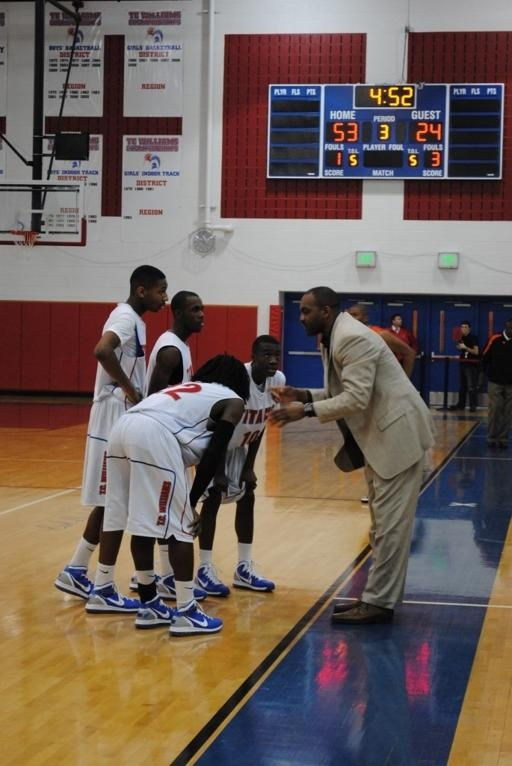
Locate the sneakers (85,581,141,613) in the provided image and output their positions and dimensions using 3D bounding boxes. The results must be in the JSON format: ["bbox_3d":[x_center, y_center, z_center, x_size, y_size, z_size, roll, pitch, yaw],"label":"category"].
[{"bbox_3d":[-0.581,0.874,2.828,0.271,0.145,0.096,3,-1,-13],"label":"sneakers"}]

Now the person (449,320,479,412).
[{"bbox_3d":[3.970,-0.314,13.090,0.498,1.691,0.776,-1,0,18],"label":"person"}]

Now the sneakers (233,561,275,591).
[{"bbox_3d":[-0.023,0.897,3.224,0.231,0.145,0.086,1,-3,16],"label":"sneakers"}]

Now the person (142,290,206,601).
[{"bbox_3d":[-0.352,0.413,2.985,0.364,1.141,0.353,4,13,3],"label":"person"}]

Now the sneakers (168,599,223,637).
[{"bbox_3d":[-0.219,0.857,2.555,0.240,0.152,0.088,1,-2,-19],"label":"sneakers"}]

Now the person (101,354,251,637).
[{"bbox_3d":[-0.311,0.404,2.532,0.570,0.833,0.453,-1,0,-3],"label":"person"}]

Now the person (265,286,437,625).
[{"bbox_3d":[0.394,0.275,2.714,0.645,1.239,0.479,-1,0,-2],"label":"person"}]

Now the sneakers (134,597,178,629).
[{"bbox_3d":[-0.379,0.860,2.651,0.072,0.128,0.205,1,2,36],"label":"sneakers"}]
